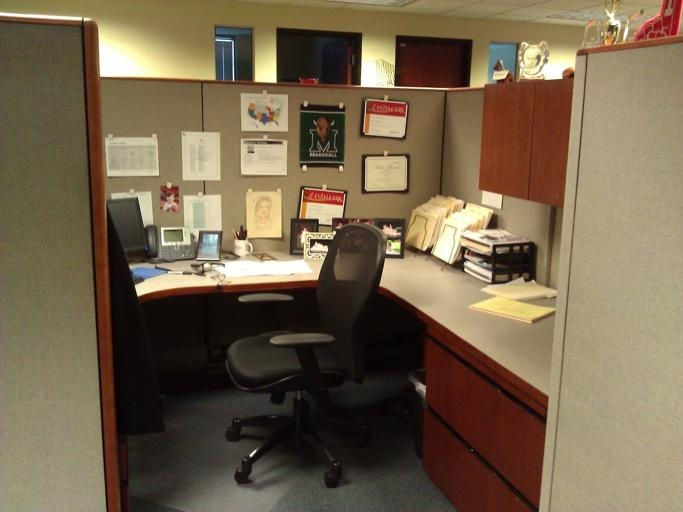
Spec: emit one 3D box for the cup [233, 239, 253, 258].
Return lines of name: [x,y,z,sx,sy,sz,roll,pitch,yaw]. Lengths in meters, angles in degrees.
cup: [-0.567,-0.048,3.270,0.111,0.106,0.078,4,6,3]

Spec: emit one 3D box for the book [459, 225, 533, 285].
book: [0.774,-0.058,2.848,0.246,0.226,0.338,-3,10,-18]

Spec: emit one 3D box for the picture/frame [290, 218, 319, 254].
picture/frame: [-0.222,-0.110,3.304,0.195,0.250,0.026,1,-5,-12]

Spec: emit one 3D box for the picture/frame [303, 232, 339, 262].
picture/frame: [-0.123,-0.067,3.271,0.239,0.188,0.138,0,1,2]

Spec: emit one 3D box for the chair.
chair: [-0.175,0.391,2.615,0.735,1.081,0.698,8,13,26]

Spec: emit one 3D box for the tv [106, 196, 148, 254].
tv: [-1.125,-0.146,3.043,0.086,0.329,0.216,9,18,36]

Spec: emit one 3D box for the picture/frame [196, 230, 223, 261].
picture/frame: [-0.742,-0.057,3.198,0.167,0.230,0.023,3,-31,-6]
